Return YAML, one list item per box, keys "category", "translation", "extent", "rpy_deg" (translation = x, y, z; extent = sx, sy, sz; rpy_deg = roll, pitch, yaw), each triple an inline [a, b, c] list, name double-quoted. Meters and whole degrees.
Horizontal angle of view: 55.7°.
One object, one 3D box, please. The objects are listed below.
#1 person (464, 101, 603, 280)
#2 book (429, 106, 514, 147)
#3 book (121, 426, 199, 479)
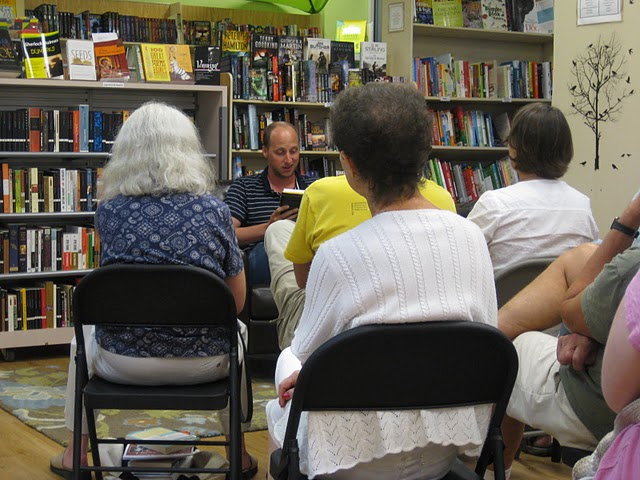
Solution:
- category: "person"
  translation: [0.919, -0.131, 2.731]
  extent: [0.581, 0.840, 0.638]
  rpy_deg: [7, -8, -40]
- category: "book"
  translation: [1.351, -1.027, 5.484]
  extent: [0.874, 0.355, 0.721]
  rpy_deg: [0, 4, -14]
- category: "book"
  translation: [-0.661, 0.865, 2.417]
  extent: [0.213, 0.079, 0.235]
  rpy_deg: [3, 9, 7]
